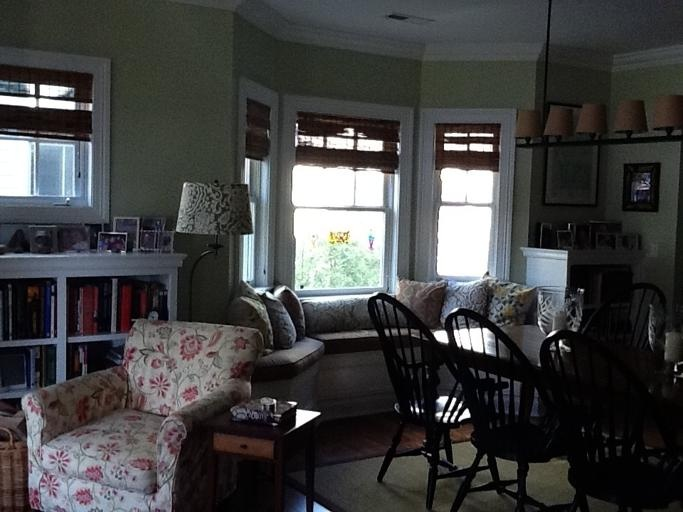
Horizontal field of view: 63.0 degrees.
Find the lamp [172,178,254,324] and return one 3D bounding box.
[{"bbox_3d":[-0.923,-0.023,4.010,0.490,1.040,0.912,-2,5,-17],"label":"lamp"}]

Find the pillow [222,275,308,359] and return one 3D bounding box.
[{"bbox_3d":[-0.585,0.468,4.212,0.189,0.373,0.586,-16,-5,16],"label":"pillow"}]

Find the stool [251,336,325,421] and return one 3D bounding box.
[{"bbox_3d":[-0.388,0.882,4.249,0.418,0.489,0.705,1,0,16],"label":"stool"}]
